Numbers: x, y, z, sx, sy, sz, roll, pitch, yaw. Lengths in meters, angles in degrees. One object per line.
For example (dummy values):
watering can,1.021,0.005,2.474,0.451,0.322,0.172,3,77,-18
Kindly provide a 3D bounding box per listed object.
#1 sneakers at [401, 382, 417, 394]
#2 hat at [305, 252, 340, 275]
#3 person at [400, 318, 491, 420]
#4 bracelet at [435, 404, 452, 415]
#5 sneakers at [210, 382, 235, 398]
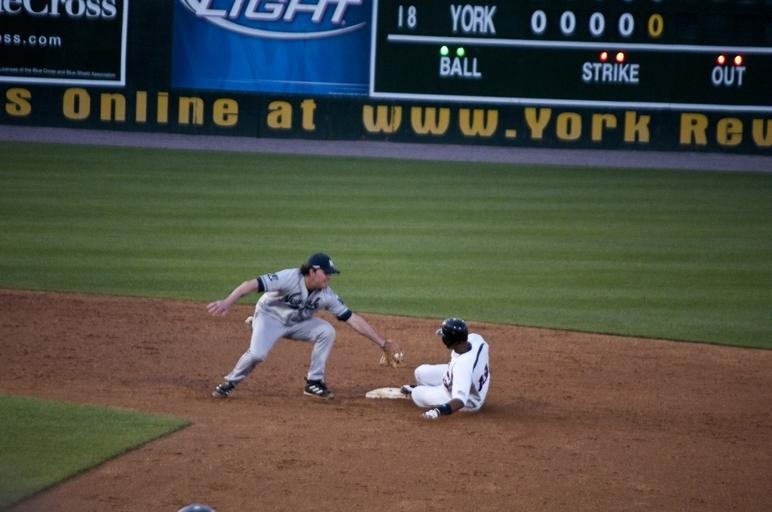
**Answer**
sneakers,0.403,2.217,22.486,0.291,0.108,0.121,7,-16,-20
hat,-1.073,0.129,22.239,0.545,0.330,0.361,2,4,-5
person,1.049,1.824,21.977,1.229,1.625,0.834,3,4,6
bracelet,0.932,2.461,21.649,0.107,0.154,0.410,-14,-12,-19
sneakers,-2.709,2.203,22.397,0.350,0.249,0.295,2,4,-10
